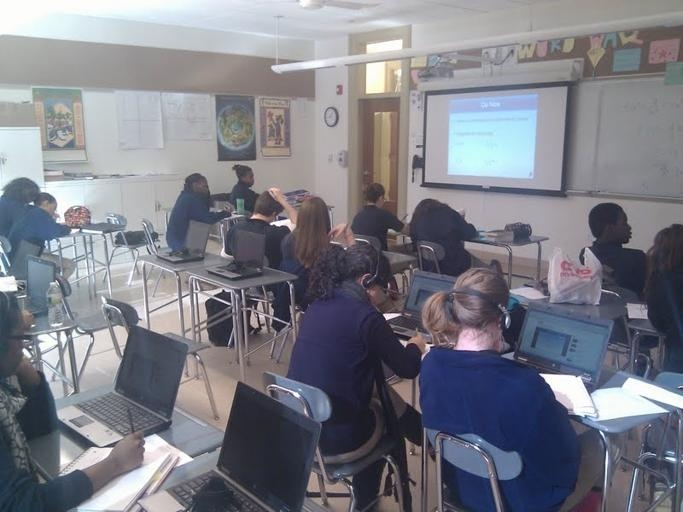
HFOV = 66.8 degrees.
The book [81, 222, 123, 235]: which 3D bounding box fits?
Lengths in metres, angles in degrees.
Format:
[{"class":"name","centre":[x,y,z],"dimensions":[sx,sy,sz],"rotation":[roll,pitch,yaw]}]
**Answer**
[{"class":"book","centre":[-2.733,-0.311,5.883],"dimensions":[0.382,0.111,0.426],"rotation":[1,11,11]}]

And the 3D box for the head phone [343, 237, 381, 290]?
[{"class":"head phone","centre":[0.105,0.058,2.618],"dimensions":[0.219,0.219,0.170],"rotation":[10,-3,3]}]

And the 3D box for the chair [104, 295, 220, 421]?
[{"class":"chair","centre":[-1.418,0.700,3.951],"dimensions":[0.680,1.020,0.588],"rotation":[-15,17,-36]}]

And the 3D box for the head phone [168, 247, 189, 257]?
[{"class":"head phone","centre":[-1.482,-0.043,4.743],"dimensions":[0.176,0.045,0.168],"rotation":[-2,12,-26]}]

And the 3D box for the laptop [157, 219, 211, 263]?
[{"class":"laptop","centre":[-1.386,-0.117,4.651],"dimensions":[0.391,0.378,0.442],"rotation":[1,11,-38]}]

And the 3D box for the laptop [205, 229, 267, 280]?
[{"class":"laptop","centre":[-0.849,-0.026,4.139],"dimensions":[0.376,0.326,0.468],"rotation":[-10,14,-38]}]

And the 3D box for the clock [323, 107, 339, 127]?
[{"class":"clock","centre":[-0.176,-2.436,9.046],"dimensions":[0.047,0.364,0.365],"rotation":[-11,15,-42]}]

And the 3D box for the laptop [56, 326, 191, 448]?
[{"class":"laptop","centre":[-0.903,0.583,2.217],"dimensions":[0.506,0.377,0.458],"rotation":[13,13,41]}]

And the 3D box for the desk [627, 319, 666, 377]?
[{"class":"desk","centre":[1.896,0.527,3.200],"dimensions":[0.213,0.312,0.262],"rotation":[-11,-3,34]}]

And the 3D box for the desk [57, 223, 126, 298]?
[{"class":"desk","centre":[-3.300,-0.098,6.726],"dimensions":[0.470,0.487,0.375],"rotation":[16,4,22]}]

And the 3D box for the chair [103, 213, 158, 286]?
[{"class":"chair","centre":[-2.628,-0.139,6.428],"dimensions":[0.356,0.613,0.442],"rotation":[11,26,25]}]

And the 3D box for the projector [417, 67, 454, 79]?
[{"class":"projector","centre":[1.203,-2.273,6.430],"dimensions":[0.461,0.119,0.252],"rotation":[-8,13,-33]}]

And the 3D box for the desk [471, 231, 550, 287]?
[{"class":"desk","centre":[1.807,0.007,5.352],"dimensions":[0.502,0.515,0.536],"rotation":[-10,15,-31]}]

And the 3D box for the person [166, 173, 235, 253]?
[{"class":"person","centre":[-1.696,-0.306,6.214],"dimensions":[0.764,1.387,0.573],"rotation":[-1,11,-32]}]

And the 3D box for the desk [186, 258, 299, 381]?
[{"class":"desk","centre":[-0.873,0.503,4.368],"dimensions":[0.570,0.692,0.732],"rotation":[12,17,19]}]

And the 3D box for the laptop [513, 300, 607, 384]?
[{"class":"laptop","centre":[0.953,0.381,2.454],"dimensions":[0.359,0.315,0.463],"rotation":[14,0,-39]}]

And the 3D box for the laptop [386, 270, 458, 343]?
[{"class":"laptop","centre":[0.447,0.238,3.171],"dimensions":[0.372,0.317,0.413],"rotation":[-4,15,-41]}]

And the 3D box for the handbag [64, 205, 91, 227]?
[{"class":"handbag","centre":[-2.994,-0.451,5.949],"dimensions":[0.245,0.202,0.251],"rotation":[13,19,27]}]
